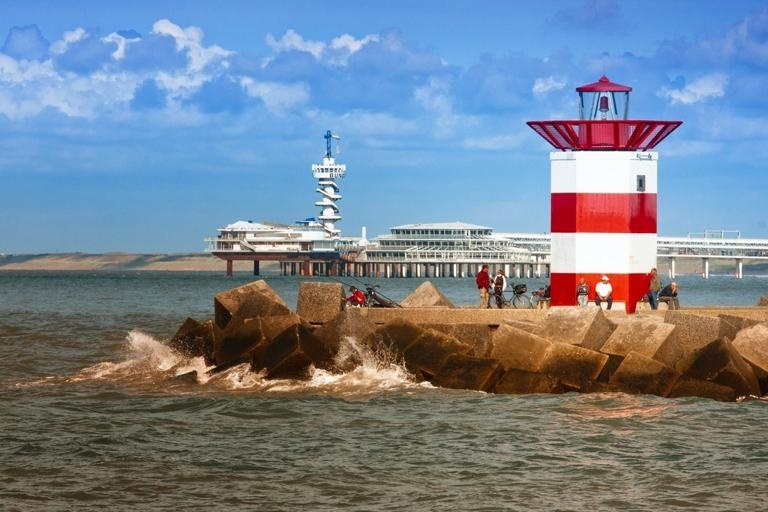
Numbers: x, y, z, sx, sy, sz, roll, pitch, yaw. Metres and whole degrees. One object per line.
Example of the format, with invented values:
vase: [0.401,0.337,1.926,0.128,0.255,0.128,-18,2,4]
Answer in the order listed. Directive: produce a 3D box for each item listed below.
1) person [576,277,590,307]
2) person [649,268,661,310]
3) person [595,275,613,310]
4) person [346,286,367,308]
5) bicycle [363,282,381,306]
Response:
person: [5.783,0.959,47.433,0.372,0.750,0.557,1,1,7]
person: [7.939,0.876,47.882,0.348,1.198,1.008,1,1,9]
person: [6.395,0.975,47.333,0.482,0.958,0.529,1,1,6]
person: [-0.861,1.192,49.877,0.690,0.777,0.550,0,-9,3]
bicycle: [-0.418,0.869,49.242,0.352,1.087,0.447,1,-14,6]
